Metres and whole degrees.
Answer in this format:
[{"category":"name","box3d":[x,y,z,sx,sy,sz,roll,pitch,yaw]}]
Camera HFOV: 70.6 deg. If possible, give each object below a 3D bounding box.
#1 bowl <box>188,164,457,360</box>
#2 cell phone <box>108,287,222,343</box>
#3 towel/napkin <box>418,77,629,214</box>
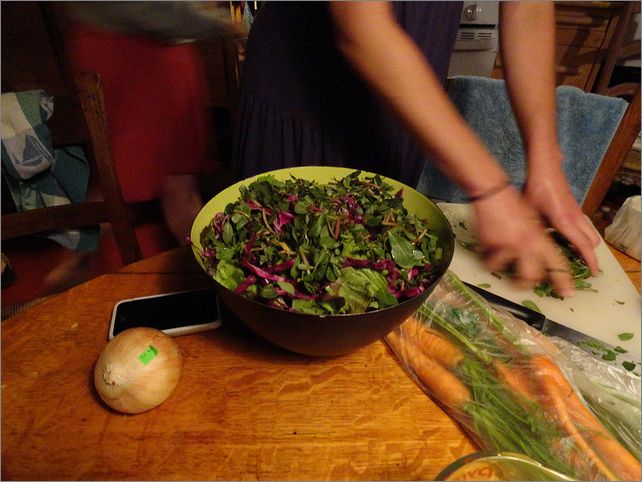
[{"category":"bowl","box3d":[0.006,0.059,1.115,0.583,0.297,0.486,14,38,17]},{"category":"cell phone","box3d":[-0.378,0.177,1.108,0.212,0.030,0.122,-4,48,-14]},{"category":"towel/napkin","box3d":[0.861,-0.435,1.782,0.616,0.666,0.214,7,8,18]}]
